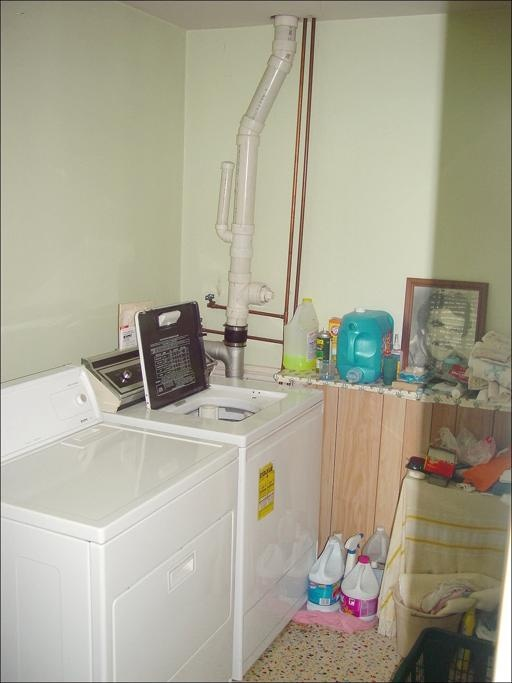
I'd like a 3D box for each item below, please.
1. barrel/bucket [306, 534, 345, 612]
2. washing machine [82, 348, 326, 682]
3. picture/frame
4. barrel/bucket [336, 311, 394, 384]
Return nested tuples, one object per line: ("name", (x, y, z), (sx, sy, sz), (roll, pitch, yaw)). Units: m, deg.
("barrel/bucket", (0.295, 0.919, 2.109), (0.148, 0.281, 0.259), (5, 16, 18))
("washing machine", (-0.123, 0.475, 2.368), (0.888, 1.815, 1.011), (7, 20, 22))
("picture/frame", (0.766, -0.047, 2.097), (0.304, 0.457, 0.017), (4, 35, 18))
("barrel/bucket", (0.468, 0.020, 2.091), (0.276, 0.292, 0.191), (1, 7, -9))
